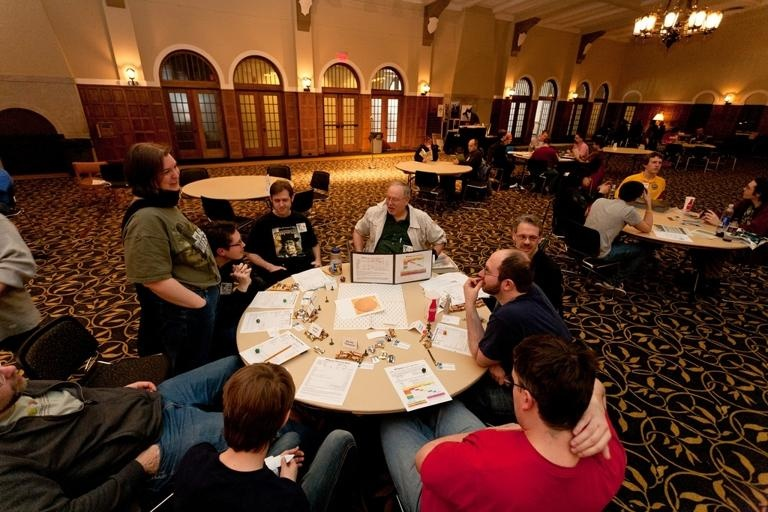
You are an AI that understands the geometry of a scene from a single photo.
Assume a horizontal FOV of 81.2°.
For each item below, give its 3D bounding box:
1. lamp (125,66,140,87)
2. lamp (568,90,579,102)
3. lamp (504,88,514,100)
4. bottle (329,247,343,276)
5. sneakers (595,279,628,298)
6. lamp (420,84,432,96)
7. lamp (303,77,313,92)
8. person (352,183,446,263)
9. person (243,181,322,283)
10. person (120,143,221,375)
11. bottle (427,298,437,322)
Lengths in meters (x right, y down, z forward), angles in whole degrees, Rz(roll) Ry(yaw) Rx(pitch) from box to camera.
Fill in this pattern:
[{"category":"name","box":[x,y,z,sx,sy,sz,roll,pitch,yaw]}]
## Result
[{"category":"lamp","box":[-6.518,-4.632,11.557,0.279,0.476,0.221,-11,27,-26]},{"category":"lamp","box":[8.257,-6.949,19.521,0.182,0.400,1.380,16,28,29]},{"category":"lamp","box":[4.812,-6.248,17.267,0.460,0.428,0.253,-6,21,-41]},{"category":"bottle","box":[-0.565,0.056,5.208,0.135,0.295,0.145,1,25,-1]},{"category":"sneakers","box":[3.394,0.454,6.641,0.478,0.173,0.187,21,73,36]},{"category":"lamp","box":[1.483,-5.823,15.732,0.353,0.372,0.343,0,-3,6]},{"category":"lamp","box":[-2.349,-5.199,13.615,0.307,0.415,0.156,-10,27,-23]},{"category":"person","box":[0.210,-0.403,5.854,1.276,0.999,0.689,5,22,14]},{"category":"person","box":[-1.220,-0.279,5.623,1.026,1.239,1.006,-6,22,-21]},{"category":"person","box":[-2.195,0.053,4.536,0.708,2.249,0.820,17,29,31]},{"category":"bottle","box":[0.508,0.557,4.647,0.129,0.223,0.096,-5,25,-15]}]
